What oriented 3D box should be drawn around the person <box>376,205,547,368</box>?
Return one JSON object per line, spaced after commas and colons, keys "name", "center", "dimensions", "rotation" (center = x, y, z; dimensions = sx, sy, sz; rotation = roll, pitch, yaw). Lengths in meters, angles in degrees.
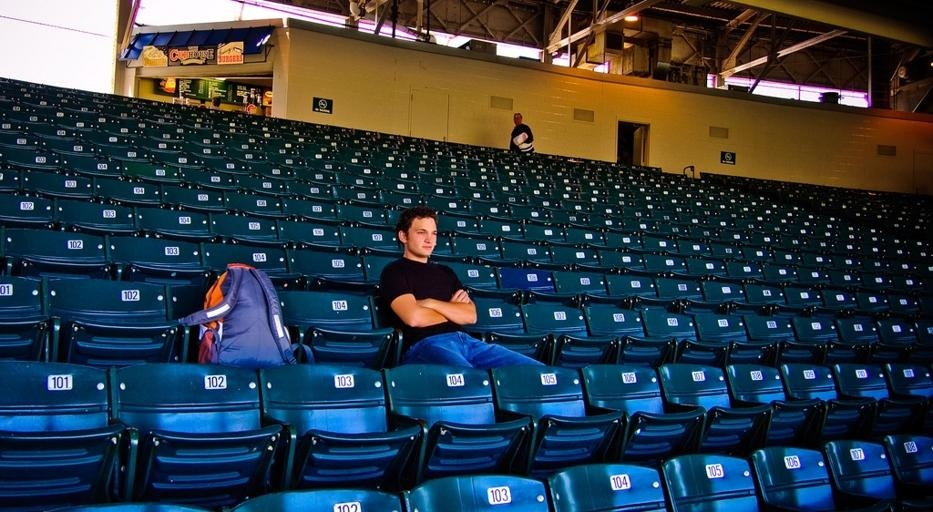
{"name": "person", "center": [0.305, 0.452, 6.439], "dimensions": [1.998, 1.378, 1.108], "rotation": [0, -3, 41]}
